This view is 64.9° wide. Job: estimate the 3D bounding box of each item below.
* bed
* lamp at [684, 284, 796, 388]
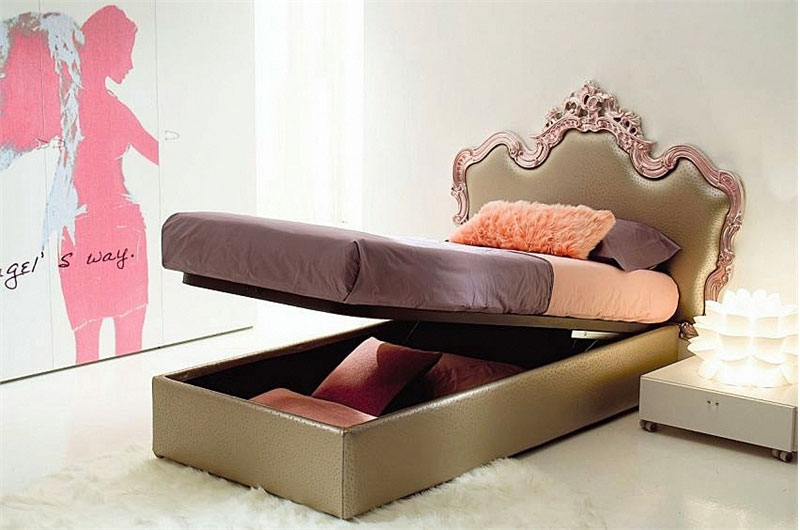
[{"bbox_3d":[0.281,-0.065,3.920,3.160,2.070,2.353,-8,12,-41],"label":"bed"},{"bbox_3d":[1.992,0.395,3.612,0.539,0.395,0.547,-1,-5,33],"label":"lamp"}]
